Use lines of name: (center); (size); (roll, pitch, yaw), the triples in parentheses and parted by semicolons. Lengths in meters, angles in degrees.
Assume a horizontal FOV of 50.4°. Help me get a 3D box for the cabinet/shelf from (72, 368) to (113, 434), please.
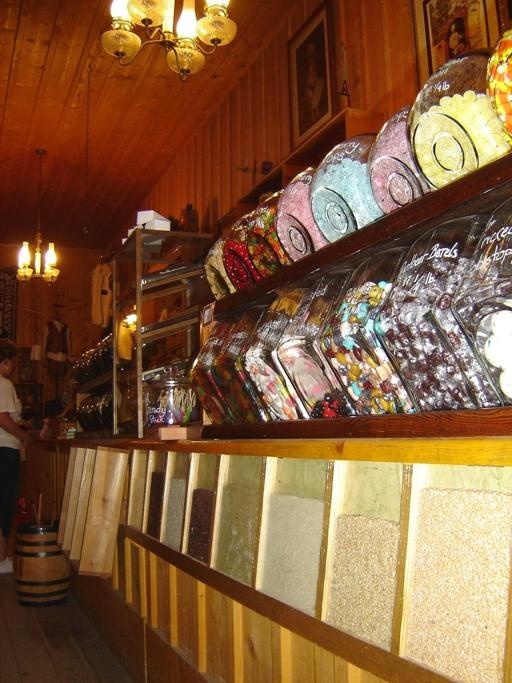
cabinet/shelf: (-1.028, 0.404, 3.454); (0.203, 0.366, 1.031); (-2, -5, -19)

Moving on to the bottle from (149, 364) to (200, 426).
bottle: (-0.321, 0.223, 2.262); (0.249, 0.258, 0.246); (-1, -11, -1)

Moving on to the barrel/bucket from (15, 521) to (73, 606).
barrel/bucket: (-1.356, 1.413, 3.449); (0.347, 0.479, 0.199); (-3, -5, -9)

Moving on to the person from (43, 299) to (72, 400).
person: (-3.028, 0.133, 8.358); (0.387, 1.490, 0.296); (-2, -6, -19)
